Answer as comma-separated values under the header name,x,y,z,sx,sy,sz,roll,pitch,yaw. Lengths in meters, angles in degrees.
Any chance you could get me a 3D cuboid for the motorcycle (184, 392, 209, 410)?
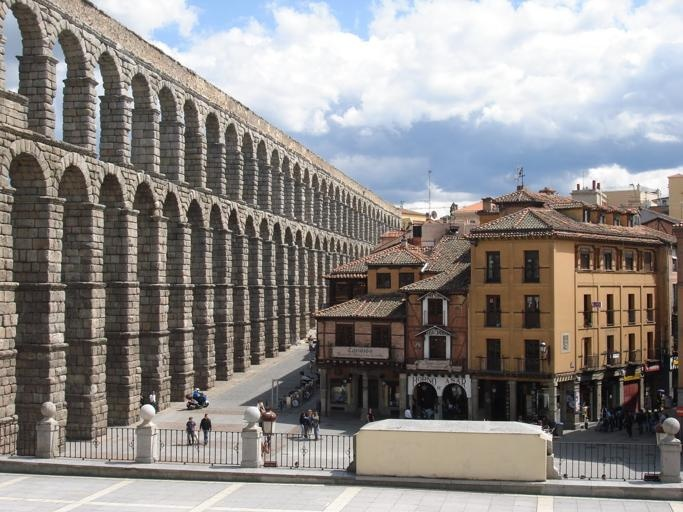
name,x,y,z,sx,sy,sz,roll,pitch,yaw
motorcycle,-10.060,10.226,81.002,1.341,0.743,0.851,-3,-2,-36
